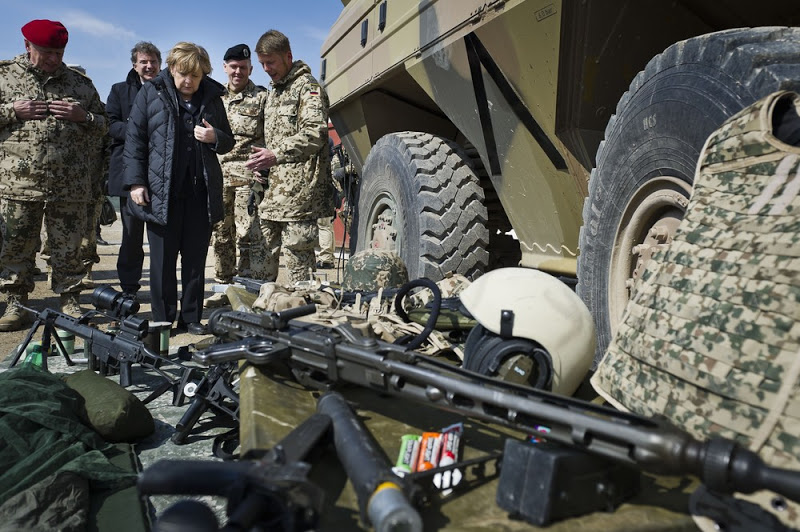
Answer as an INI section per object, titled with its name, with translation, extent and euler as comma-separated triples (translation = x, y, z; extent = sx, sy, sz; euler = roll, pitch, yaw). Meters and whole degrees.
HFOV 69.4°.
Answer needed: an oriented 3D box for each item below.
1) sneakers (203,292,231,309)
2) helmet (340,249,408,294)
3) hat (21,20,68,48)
[sneakers]
translation = -1.757, 0.331, 5.494
extent = 0.216, 0.163, 0.367
euler = -4, -6, 40
[helmet]
translation = -0.113, 0.020, 4.138
extent = 0.444, 0.245, 0.463
euler = -4, -2, 6
[hat]
translation = -2.798, -1.827, 4.524
extent = 0.287, 0.202, 0.268
euler = 7, 1, -35
